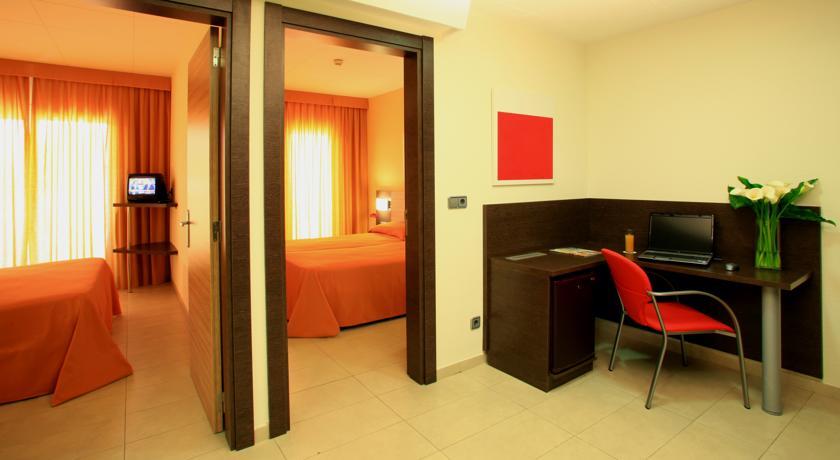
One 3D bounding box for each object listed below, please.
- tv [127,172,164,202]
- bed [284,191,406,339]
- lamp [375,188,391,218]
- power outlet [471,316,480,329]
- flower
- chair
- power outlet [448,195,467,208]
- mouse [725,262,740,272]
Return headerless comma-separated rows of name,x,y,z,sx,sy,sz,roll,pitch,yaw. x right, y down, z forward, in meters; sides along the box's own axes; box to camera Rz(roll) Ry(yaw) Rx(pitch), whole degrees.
tv,-4.181,-0.634,8.014,0.537,0.370,0.478,1,-3,-15
bed,-1.025,0.736,7.502,1.613,0.930,1.998,-2,9,-3
lamp,-0.659,-0.493,9.459,0.133,0.418,0.523,1,5,-39
power outlet,0.628,1.052,5.969,0.188,0.145,0.025,-2,4,-33
flower,3.830,-0.012,5.950,1.045,1.065,1.215,2,-2,-29
chair,2.826,0.978,5.766,1.498,1.353,1.475,-4,7,-41
power outlet,0.421,-0.313,5.810,0.246,0.145,0.043,-7,11,-30
mouse,3.300,0.383,5.531,0.089,0.047,0.141,0,5,37
